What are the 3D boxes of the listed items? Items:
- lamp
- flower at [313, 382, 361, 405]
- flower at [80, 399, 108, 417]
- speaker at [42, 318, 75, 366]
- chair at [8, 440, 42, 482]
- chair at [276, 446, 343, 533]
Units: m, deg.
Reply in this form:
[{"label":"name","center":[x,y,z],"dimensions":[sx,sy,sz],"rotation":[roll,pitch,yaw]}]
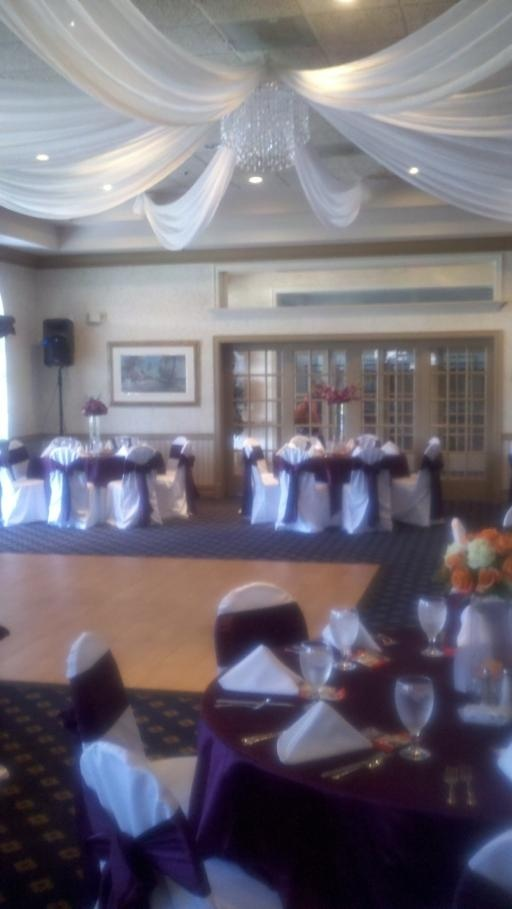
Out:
[{"label":"lamp","center":[0.073,-2.250,4.130],"dimensions":[0.415,0.524,0.420],"rotation":[3,-5,-36]},{"label":"flower","center":[1.071,-0.875,8.809],"dimensions":[0.657,0.340,0.382],"rotation":[0,27,-5]},{"label":"flower","center":[-2.284,-0.640,8.960],"dimensions":[0.307,0.389,0.339],"rotation":[1,0,38]},{"label":"speaker","center":[-3.132,-1.775,9.958],"dimensions":[0.468,0.736,0.304],"rotation":[-2,3,-22]},{"label":"chair","center":[-3.125,0.097,8.415],"dimensions":[0.409,0.586,0.380],"rotation":[10,17,40]},{"label":"chair","center":[0.611,0.332,7.978],"dimensions":[0.940,1.598,0.861],"rotation":[1,3,14]}]
